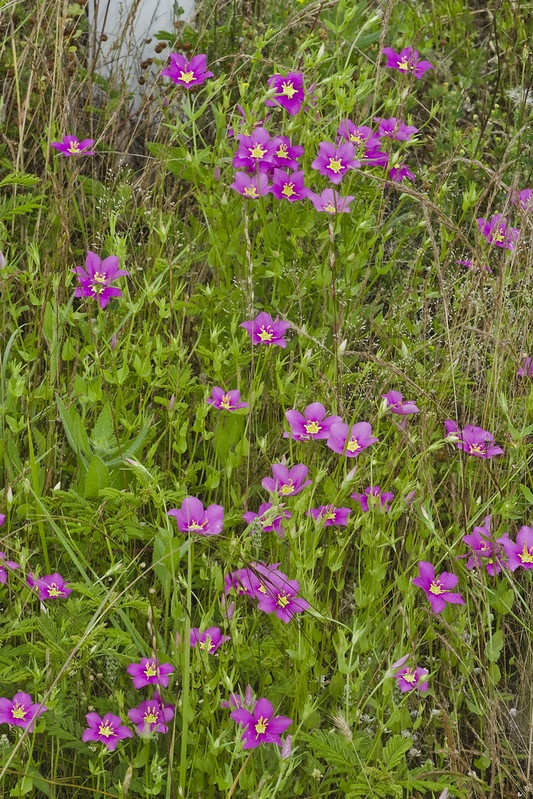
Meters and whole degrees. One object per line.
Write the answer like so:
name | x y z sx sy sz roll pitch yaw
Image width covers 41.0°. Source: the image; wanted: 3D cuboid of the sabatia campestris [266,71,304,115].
sabatia campestris | 0.045 -0.671 1.601 0.085 0.092 0.035 -38 22 -10

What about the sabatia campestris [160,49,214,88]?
sabatia campestris | -0.194 -0.780 1.707 0.110 0.100 0.194 9 31 -12

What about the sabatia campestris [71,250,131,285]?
sabatia campestris | -0.329 -0.239 1.378 0.077 0.034 0.087 17 52 10

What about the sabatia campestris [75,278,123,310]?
sabatia campestris | -0.336 -0.210 1.399 0.068 0.040 0.075 1 14 11
